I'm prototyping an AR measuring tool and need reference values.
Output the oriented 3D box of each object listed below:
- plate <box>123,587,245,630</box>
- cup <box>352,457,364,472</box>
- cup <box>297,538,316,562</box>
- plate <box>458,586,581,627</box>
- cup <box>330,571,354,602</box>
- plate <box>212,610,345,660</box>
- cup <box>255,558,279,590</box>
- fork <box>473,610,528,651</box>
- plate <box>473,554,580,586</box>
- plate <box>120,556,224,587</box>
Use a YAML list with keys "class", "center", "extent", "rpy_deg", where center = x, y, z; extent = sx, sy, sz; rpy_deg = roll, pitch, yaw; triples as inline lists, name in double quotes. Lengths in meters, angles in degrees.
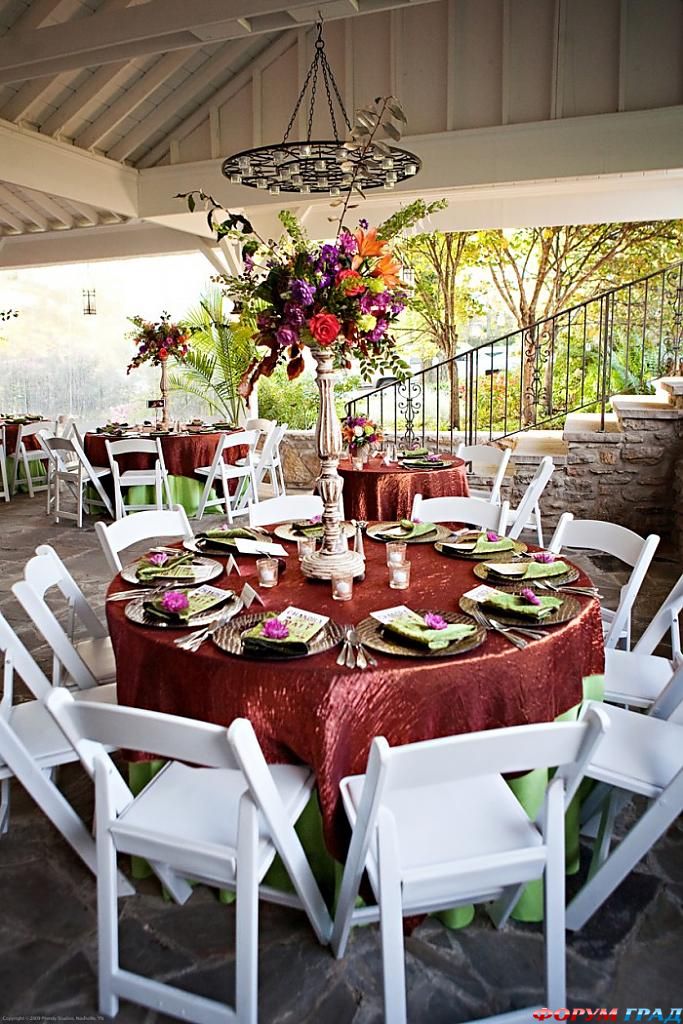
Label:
- class: "plate"
  center: [-0.403, 0.241, 1.735]
  extent: [0.150, 0.040, 0.148]
  rpy_deg: [8, 12, 34]
- class: "cup"
  center: [0.097, -0.266, 4.223]
  extent: [0.073, 0.084, 0.073]
  rpy_deg: [-1, 6, 0]
- class: "cup"
  center: [-0.099, 0.119, 2.124]
  extent: [0.064, 0.071, 0.063]
  rpy_deg: [0, 5, 0]
- class: "plate"
  center: [0.424, 0.233, 1.708]
  extent: [0.181, 0.038, 0.134]
  rpy_deg: [8, 18, 37]
- class: "cup"
  center: [0.002, 0.200, 1.837]
  extent: [0.063, 0.070, 0.063]
  rpy_deg: [-1, 3, 0]
- class: "plate"
  center: [-0.143, 0.264, 1.569]
  extent: [0.302, 0.045, 0.241]
  rpy_deg: [1, 13, 12]
- class: "cup"
  center: [-0.199, 0.180, 1.970]
  extent: [0.053, 0.061, 0.082]
  rpy_deg: [1, 9, 2]
- class: "fork"
  center: [0.355, 0.264, 1.606]
  extent: [0.032, 0.023, 0.216]
  rpy_deg: [-18, 15, -12]
- class: "plate"
  center: [0.523, 0.172, 1.975]
  extent: [0.158, 0.042, 0.128]
  rpy_deg: [-2, 4, -16]
- class: "plate"
  center: [-0.474, 0.182, 2.007]
  extent: [0.136, 0.014, 0.139]
  rpy_deg: [9, 15, 38]
